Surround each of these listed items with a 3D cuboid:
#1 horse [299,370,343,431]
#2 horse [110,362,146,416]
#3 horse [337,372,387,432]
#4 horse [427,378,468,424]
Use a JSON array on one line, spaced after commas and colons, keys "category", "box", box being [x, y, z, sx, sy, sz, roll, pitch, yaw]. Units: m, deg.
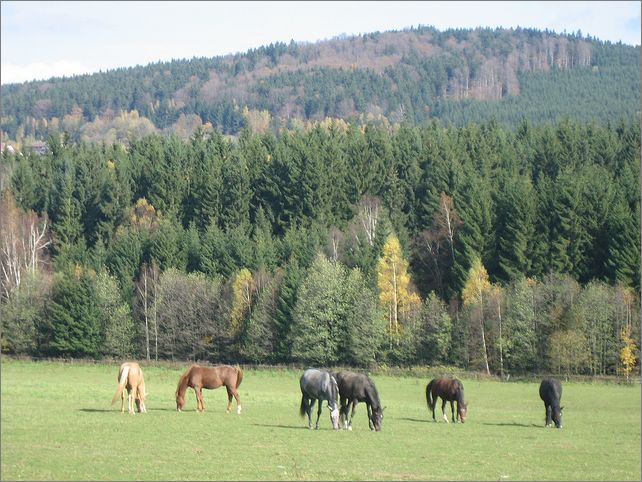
[{"category": "horse", "box": [-0.177, 22.287, 174.849, 5.061, 8.320, 1.749, -2, -3, 14]}, {"category": "horse", "box": [-26.851, 21.039, 177.902, 4.608, 7.086, 4.809, -4, -5, 44]}, {"category": "horse", "box": [5.181, 22.497, 174.838, 5.621, 8.100, 2.080, -2, -3, 17]}, {"category": "horse", "box": [17.617, 22.714, 180.413, 3.978, 7.329, 4.869, 0, -7, -2]}]
